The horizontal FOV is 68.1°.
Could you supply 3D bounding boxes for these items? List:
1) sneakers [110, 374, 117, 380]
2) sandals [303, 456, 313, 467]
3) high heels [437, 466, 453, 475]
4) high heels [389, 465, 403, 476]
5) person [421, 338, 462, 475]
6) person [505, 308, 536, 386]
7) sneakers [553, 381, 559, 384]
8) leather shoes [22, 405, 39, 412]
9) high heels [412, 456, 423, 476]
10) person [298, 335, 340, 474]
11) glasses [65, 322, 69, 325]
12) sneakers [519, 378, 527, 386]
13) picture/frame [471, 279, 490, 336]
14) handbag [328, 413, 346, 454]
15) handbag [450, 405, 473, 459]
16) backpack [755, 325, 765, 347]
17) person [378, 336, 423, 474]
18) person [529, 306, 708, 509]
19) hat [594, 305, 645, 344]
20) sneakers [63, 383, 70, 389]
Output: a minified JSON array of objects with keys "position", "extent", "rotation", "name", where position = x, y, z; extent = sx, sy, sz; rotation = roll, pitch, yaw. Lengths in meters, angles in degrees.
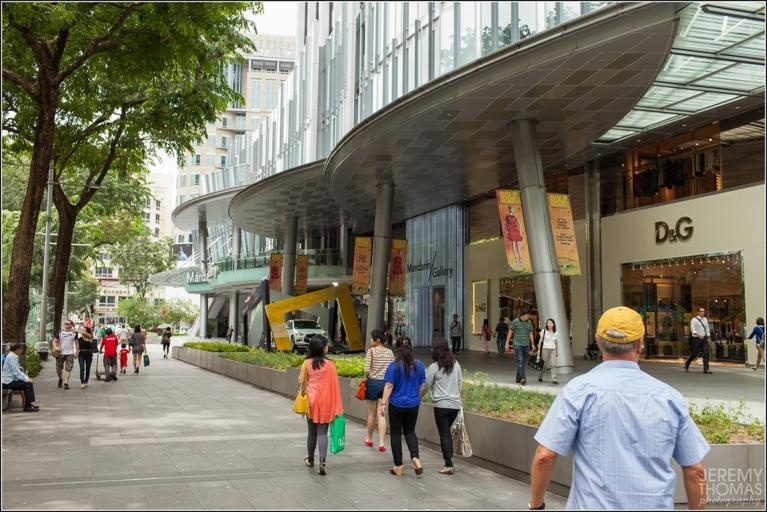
[{"position":[-10.393,4.712,21.898],"extent":[0.247,0.236,0.221],"rotation":[6,8,44],"name":"sneakers"},{"position":[-1.283,3.482,9.592],"extent":[0.123,0.172,0.072],"rotation":[-25,-12,30],"name":"sandals"},{"position":[0.962,3.509,9.253],"extent":[0.262,0.175,0.101],"rotation":[-1,-11,21],"name":"high heels"},{"position":[0.181,3.459,9.161],"extent":[0.097,0.184,0.260],"rotation":[5,0,-42],"name":"high heels"},{"position":[0.930,2.482,9.401],"extent":[0.639,2.218,0.419],"rotation":[-2,-2,3],"name":"person"},{"position":[3.913,2.623,16.584],"extent":[0.844,2.195,1.052],"rotation":[1,-6,22],"name":"person"},{"position":[4.863,3.636,16.221],"extent":[0.073,0.086,0.220],"rotation":[0,-18,-7],"name":"sneakers"},{"position":[-8.995,3.903,14.456],"extent":[0.445,0.163,0.162],"rotation":[-1,-2,-4],"name":"leather shoes"},{"position":[0.518,3.384,9.103],"extent":[0.152,0.311,0.211],"rotation":[-2,-2,2],"name":"high heels"},{"position":[-1.093,2.462,9.577],"extent":[0.683,2.221,0.950],"rotation":[-1,-2,-10],"name":"person"},{"position":[-10.557,2.257,18.849],"extent":[0.101,0.135,0.101],"rotation":[-1,3,-1],"name":"glasses"},{"position":[3.902,3.563,16.041],"extent":[0.096,0.122,0.287],"rotation":[-2,-22,-8],"name":"sneakers"},{"position":[5.313,2.933,32.297],"extent":[0.274,3.104,1.779],"rotation":[-1,-2,-21],"name":"picture/frame"},{"position":[-0.799,2.980,9.426],"extent":[0.232,0.672,0.304],"rotation":[-1,-2,-10],"name":"handbag"},{"position":[1.302,3.028,9.611],"extent":[0.325,1.040,1.031],"rotation":[-2,-2,8],"name":"handbag"},{"position":[11.873,2.550,18.120],"extent":[0.310,0.502,0.642],"rotation":[-3,-3,31],"name":"backpack"},{"position":[0.346,2.453,9.357],"extent":[0.699,2.179,0.704],"rotation":[-1,-2,-12],"name":"person"},{"position":[1.856,1.223,4.541],"extent":[1.288,1.570,0.393],"rotation":[-1,-2,-7],"name":"person"},{"position":[1.988,0.503,4.734],"extent":[0.389,0.210,0.562],"rotation":[4,17,29],"name":"hat"},{"position":[-10.684,4.401,19.079],"extent":[0.143,0.181,0.427],"rotation":[2,1,-18],"name":"sneakers"}]
